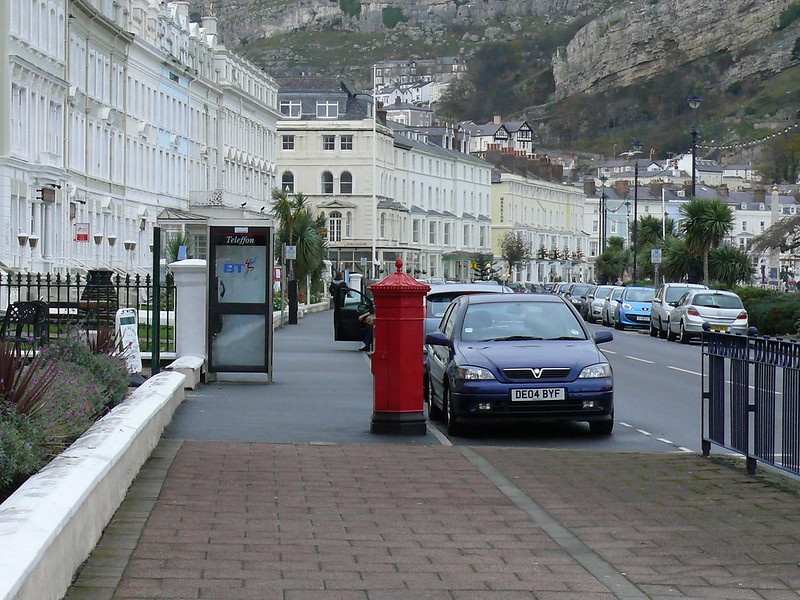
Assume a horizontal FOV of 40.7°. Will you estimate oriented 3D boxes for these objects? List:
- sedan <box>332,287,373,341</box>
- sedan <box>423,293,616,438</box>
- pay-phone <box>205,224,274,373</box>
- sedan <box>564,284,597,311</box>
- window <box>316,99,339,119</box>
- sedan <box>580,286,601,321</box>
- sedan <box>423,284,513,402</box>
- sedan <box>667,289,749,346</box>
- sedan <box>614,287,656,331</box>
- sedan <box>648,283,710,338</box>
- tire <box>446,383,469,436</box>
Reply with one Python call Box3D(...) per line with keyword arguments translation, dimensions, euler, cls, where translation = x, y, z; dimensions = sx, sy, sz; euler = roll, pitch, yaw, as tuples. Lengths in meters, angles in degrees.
Box3D(translation=(-1.327, 0.453, 29.236), dimensions=(1.207, 1.413, 1.153), euler=(-1, 5, -1), cls="sedan")
Box3D(translation=(1.510, 0.982, 14.353), dimensions=(1.871, 2.059, 3.030), euler=(0, 2, -4), cls="sedan")
Box3D(translation=(-2.704, -0.044, 18.227), dimensions=(0.819, 3.006, 0.885), euler=(-2, 5, -2), cls="pay-phone")
Box3D(translation=(8.272, -0.102, 48.870), dimensions=(1.000, 1.057, 1.996), euler=(0, -5, -4), cls="sedan")
Box3D(translation=(-7.036, -18.722, 106.470), dimensions=(1.591, 1.474, 0.118), euler=(0, -1, 0), cls="window")
Box3D(translation=(9.354, 0.187, 51.527), dimensions=(1.273, 1.440, 2.867), euler=(0, -4, -3), cls="sedan")
Box3D(translation=(1.374, 0.696, 19.876), dimensions=(1.270, 2.201, 2.031), euler=(-2, 3, -3), cls="sedan")
Box3D(translation=(10.293, 0.589, 36.496), dimensions=(2.003, 2.014, 4.091), euler=(5, 2, 4), cls="sedan")
Box3D(translation=(9.551, 0.323, 44.323), dimensions=(1.059, 1.047, 1.935), euler=(1, -6, -3), cls="sedan")
Box3D(translation=(9.787, 0.552, 38.386), dimensions=(1.671, 2.178, 1.705), euler=(-1, 2, 14), cls="sedan")
Box3D(translation=(0.735, 1.364, 13.580), dimensions=(0.194, 0.714, 0.650), euler=(1, 1, -9), cls="tire")
